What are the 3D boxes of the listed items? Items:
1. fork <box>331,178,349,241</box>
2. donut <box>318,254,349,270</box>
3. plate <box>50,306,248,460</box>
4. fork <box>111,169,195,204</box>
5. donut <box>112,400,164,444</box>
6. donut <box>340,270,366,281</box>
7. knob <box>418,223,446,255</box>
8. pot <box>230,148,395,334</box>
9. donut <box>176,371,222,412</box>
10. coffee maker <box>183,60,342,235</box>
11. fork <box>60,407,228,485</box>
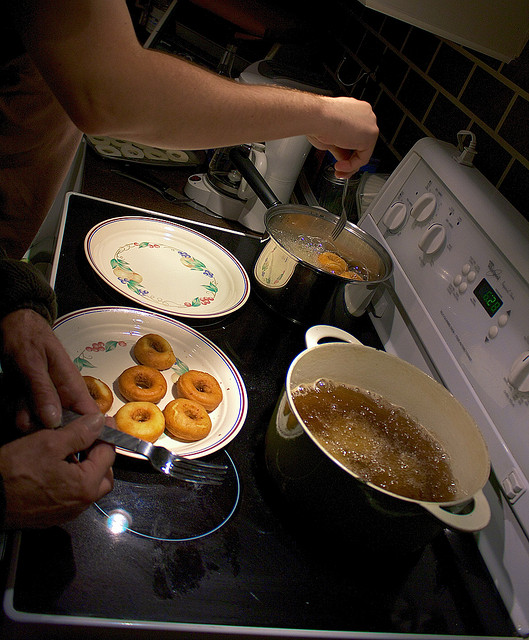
[{"bbox_3d":[0.148,-0.212,0.842,0.016,0.017,0.146,15,57,-5],"label":"fork"},{"bbox_3d":[0.138,-0.111,0.848,0.040,0.011,0.040,40,43,18],"label":"donut"},{"bbox_3d":[-0.149,0.081,0.550,0.196,0.090,0.229,-19,31,-41],"label":"plate"},{"bbox_3d":[-0.304,-0.354,1.170,0.283,0.032,0.057,31,39,22],"label":"fork"},{"bbox_3d":[-0.148,0.120,0.523,0.058,0.022,0.062,34,25,26],"label":"donut"},{"bbox_3d":[0.163,-0.082,0.812,0.024,0.006,0.026,0,30,-18],"label":"donut"},{"bbox_3d":[0.297,-0.144,0.772,0.011,0.049,0.037,0,41,-28],"label":"knob"},{"bbox_3d":[0.074,-0.092,0.901,0.289,0.326,0.308,17,39,-14],"label":"pot"},{"bbox_3d":[-0.086,0.091,0.585,0.051,0.020,0.052,19,31,-21],"label":"donut"},{"bbox_3d":[-0.031,-0.478,1.218,0.308,0.379,0.204,19,28,-2],"label":"coffee maker"},{"bbox_3d":[-0.131,0.130,0.447,0.184,0.020,0.025,17,42,2],"label":"fork"}]
